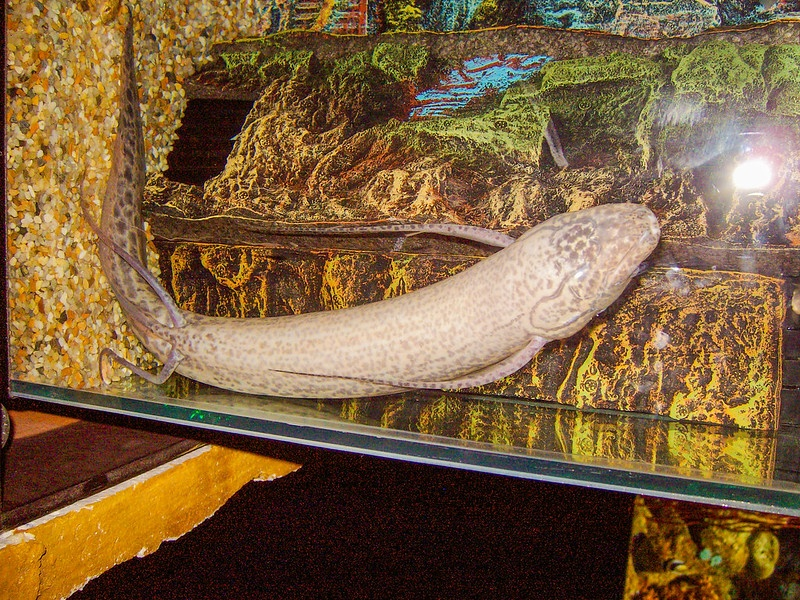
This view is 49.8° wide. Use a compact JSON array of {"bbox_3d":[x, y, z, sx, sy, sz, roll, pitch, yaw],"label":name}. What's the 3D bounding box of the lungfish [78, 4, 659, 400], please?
[{"bbox_3d":[-0.074,-0.084,1.374,0.820,0.637,0.342,1,-22,13],"label":"lungfish"}]
